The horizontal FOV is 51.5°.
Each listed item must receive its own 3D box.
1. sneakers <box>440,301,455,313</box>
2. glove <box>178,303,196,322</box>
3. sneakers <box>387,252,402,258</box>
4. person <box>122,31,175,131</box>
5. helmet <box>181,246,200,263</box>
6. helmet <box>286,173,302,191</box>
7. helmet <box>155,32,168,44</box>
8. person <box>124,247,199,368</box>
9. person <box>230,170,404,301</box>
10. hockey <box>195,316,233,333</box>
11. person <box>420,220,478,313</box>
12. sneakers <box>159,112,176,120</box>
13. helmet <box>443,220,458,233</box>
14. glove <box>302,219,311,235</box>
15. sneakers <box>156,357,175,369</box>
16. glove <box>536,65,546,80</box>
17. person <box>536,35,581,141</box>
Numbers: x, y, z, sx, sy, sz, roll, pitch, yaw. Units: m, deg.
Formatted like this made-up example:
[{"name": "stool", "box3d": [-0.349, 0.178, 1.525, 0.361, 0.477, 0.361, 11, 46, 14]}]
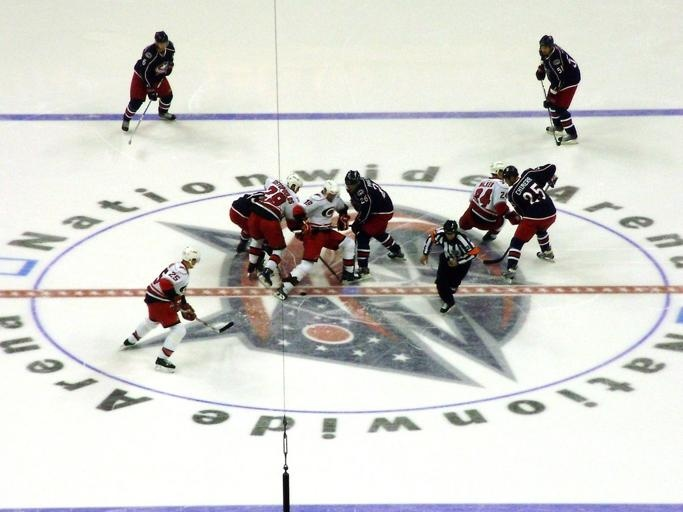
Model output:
[{"name": "sneakers", "box3d": [1.110, 0.554, 7.463, 0.070, 0.081, 0.195, 18, 38, 35]}, {"name": "glove", "box3d": [-1.446, 0.529, 6.680, 0.142, 0.167, 0.064, -11, 33, 28]}, {"name": "sneakers", "box3d": [0.625, -0.008, 8.341, 0.167, 0.047, 0.061, -3, -19, 9]}, {"name": "person", "box3d": [-2.860, -2.542, 10.386, 0.773, 1.411, 0.999, -2, 13, -13]}, {"name": "helmet", "box3d": [-1.421, -0.017, 6.710, 0.188, 0.135, 0.125, -1, 26, -18]}, {"name": "helmet", "box3d": [-0.523, -0.835, 7.915, 0.177, 0.172, 0.188, 14, 46, 4]}, {"name": "helmet", "box3d": [-2.512, -3.050, 9.871, 0.164, 0.136, 0.117, -3, 13, -16]}, {"name": "person", "box3d": [-1.778, 0.557, 7.004, 0.709, 1.153, 0.620, 4, 44, -36]}, {"name": "person", "box3d": [-0.275, -0.169, 8.050, 1.626, 1.194, 0.749, -13, 30, -35]}, {"name": "hockey", "box3d": [-1.285, 0.696, 7.128, 0.250, 0.064, 0.242, 39, -10, -5]}, {"name": "person", "box3d": [1.139, 0.090, 7.524, 0.579, 0.983, 0.396, 2, 13, 5]}, {"name": "sneakers", "box3d": [-2.710, -2.178, 11.007, 0.242, 0.074, 0.111, 4, 34, 2]}, {"name": "helmet", "box3d": [1.118, -0.302, 7.326, 0.131, 0.120, 0.144, 1, -20, 4]}, {"name": "glove", "box3d": [-0.383, -0.314, 7.700, 0.119, 0.124, 0.067, 0, -3, -2]}, {"name": "sneakers", "box3d": [-1.640, 1.003, 6.602, 0.187, 0.063, 0.095, 8, 22, 17]}, {"name": "glove", "box3d": [2.940, -2.706, 10.366, 0.191, 0.211, 0.085, 0, 0, 39]}, {"name": "person", "box3d": [3.198, -2.446, 10.409, 0.650, 1.495, 0.740, 4, 13, 15]}]
